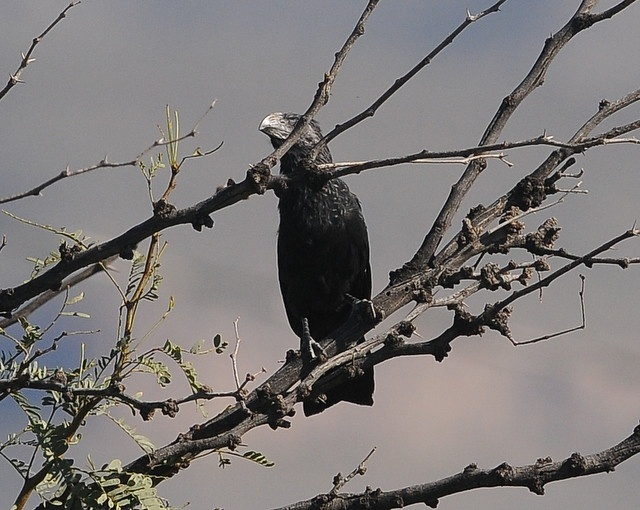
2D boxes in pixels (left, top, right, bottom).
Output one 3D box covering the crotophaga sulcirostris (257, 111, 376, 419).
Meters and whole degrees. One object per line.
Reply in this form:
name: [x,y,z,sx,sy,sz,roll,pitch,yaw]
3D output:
crotophaga sulcirostris: [0.004,0.111,6.530,0.517,1.087,1.794,-12,-56,6]
